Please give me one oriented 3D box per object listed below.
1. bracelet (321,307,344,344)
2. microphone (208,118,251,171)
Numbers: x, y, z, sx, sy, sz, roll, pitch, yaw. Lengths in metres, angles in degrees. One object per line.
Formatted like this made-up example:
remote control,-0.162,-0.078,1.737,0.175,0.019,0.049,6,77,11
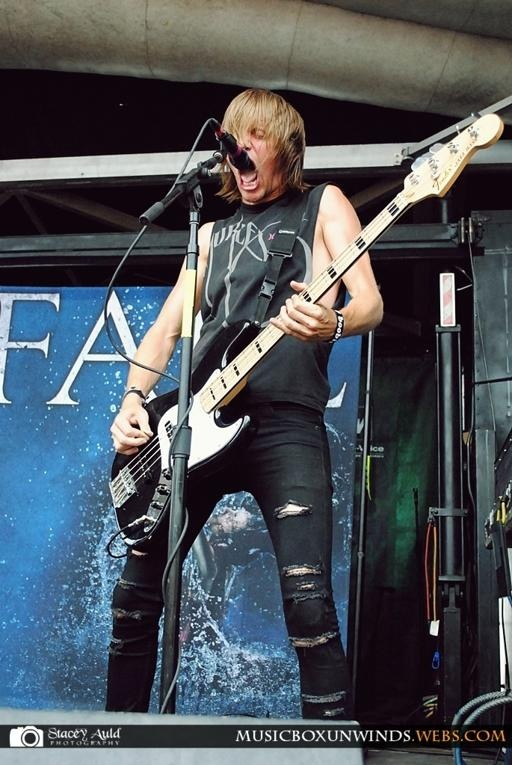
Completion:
bracelet,0.172,-0.128,1.742,0.023,0.052,0.060,6,-39,3
microphone,-0.071,-0.599,1.929,0.038,0.040,0.172,18,-11,17
